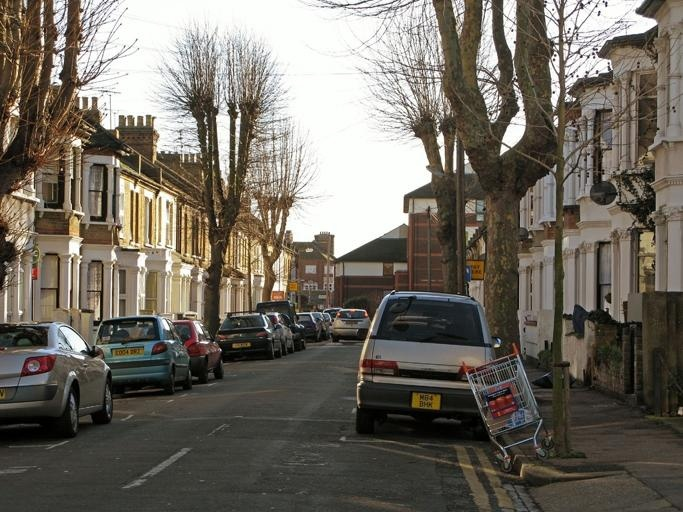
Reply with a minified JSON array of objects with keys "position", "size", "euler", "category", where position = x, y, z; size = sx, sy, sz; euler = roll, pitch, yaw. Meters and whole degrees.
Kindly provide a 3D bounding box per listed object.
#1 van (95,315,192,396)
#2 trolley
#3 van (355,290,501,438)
[{"position":[-4.575,2.236,23.228],"size":[1.253,1.207,2.479],"euler":[-1,0,5],"category":"van"},{"position":[2.510,2.331,15.341],"size":[0.905,1.695,1.695],"euler":[-20,-3,8],"category":"trolley"},{"position":[1.257,1.651,16.449],"size":[1.516,1.476,2.678],"euler":[1,3,1],"category":"van"}]
